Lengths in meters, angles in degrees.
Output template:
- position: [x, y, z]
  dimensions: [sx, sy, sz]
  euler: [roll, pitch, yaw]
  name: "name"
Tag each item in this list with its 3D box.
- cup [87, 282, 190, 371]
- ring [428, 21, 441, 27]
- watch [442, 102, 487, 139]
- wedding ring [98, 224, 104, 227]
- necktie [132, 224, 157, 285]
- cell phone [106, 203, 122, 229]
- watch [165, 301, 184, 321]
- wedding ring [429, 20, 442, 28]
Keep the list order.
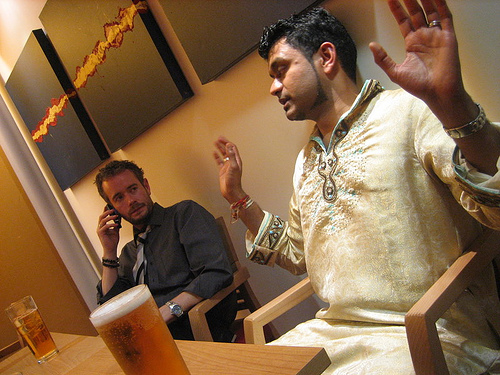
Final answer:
- position: [-0.239, 0.335, 0.845]
  dimensions: [0.139, 0.206, 0.098]
  euler: [-19, 8, 25]
  name: "cup"
- position: [0.495, -0.437, 1.041]
  dimensions: [0.016, 0.004, 0.016]
  euler: [1, -1, 0]
  name: "ring"
- position: [0.589, -0.182, 1.073]
  dimensions: [0.109, 0.032, 0.114]
  euler: [-28, 23, 11]
  name: "watch"
- position: [-0.937, 0.238, 2.434]
  dimensions: [0.019, 0.019, 0.020]
  euler: [0, -15, 0]
  name: "wedding ring"
- position: [-0.618, 0.428, 2.313]
  dimensions: [0.148, 0.303, 0.039]
  euler: [-15, -17, 27]
  name: "necktie"
- position: [-0.861, 0.178, 2.452]
  dimensions: [0.037, 0.151, 0.055]
  euler: [-27, 4, -40]
  name: "cell phone"
- position: [-0.359, 0.593, 1.939]
  dimensions: [0.090, 0.090, 0.060]
  euler: [26, 53, 33]
  name: "watch"
- position: [0.497, -0.438, 1.041]
  dimensions: [0.018, 0.005, 0.018]
  euler: [1, -2, 0]
  name: "wedding ring"
